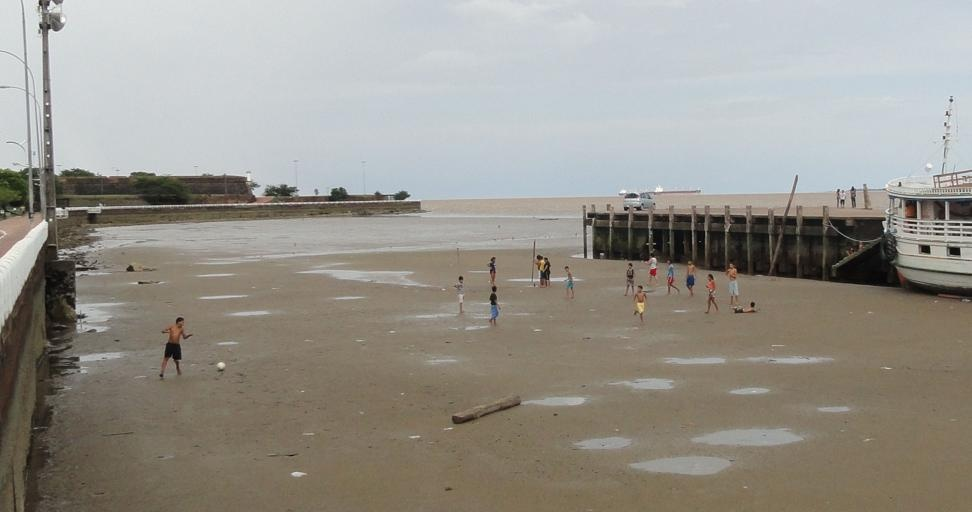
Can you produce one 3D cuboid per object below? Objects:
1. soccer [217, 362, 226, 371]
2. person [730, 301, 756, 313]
[{"bbox_3d":[-11.080,4.549,36.752,0.342,0.240,0.331,2,10,12],"label":"soccer"},{"bbox_3d":[12.687,2.511,43.484,0.685,0.424,0.912,0,12,26],"label":"person"}]
